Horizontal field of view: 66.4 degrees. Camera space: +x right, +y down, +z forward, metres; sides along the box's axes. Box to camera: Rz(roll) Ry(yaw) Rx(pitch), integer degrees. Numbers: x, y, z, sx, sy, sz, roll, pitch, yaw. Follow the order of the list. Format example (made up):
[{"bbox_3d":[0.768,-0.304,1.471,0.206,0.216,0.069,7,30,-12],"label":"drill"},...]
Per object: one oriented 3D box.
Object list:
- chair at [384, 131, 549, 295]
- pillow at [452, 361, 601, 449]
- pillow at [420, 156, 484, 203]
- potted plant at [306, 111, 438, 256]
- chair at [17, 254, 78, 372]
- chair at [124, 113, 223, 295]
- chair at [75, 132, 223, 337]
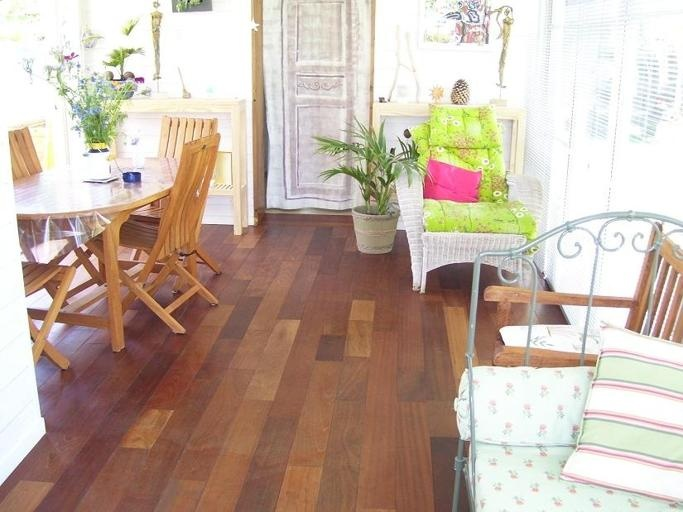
[{"bbox_3d":[1.065,-0.228,4.165,0.954,1.118,1.092,1,0,25],"label":"chair"},{"bbox_3d":[0.593,0.491,1.694,0.377,0.253,0.141,1,1,2],"label":"pillow"},{"bbox_3d":[0.914,-0.549,4.266,0.437,0.380,0.171,6,15,4],"label":"pillow"},{"bbox_3d":[0.163,-0.582,4.534,0.802,0.957,0.791,9,23,-27],"label":"potted plant"},{"bbox_3d":[-1.619,0.196,2.840,0.238,0.272,0.218,-14,16,44],"label":"chair"},{"bbox_3d":[-1.360,-0.389,4.003,0.827,1.175,0.700,-10,1,17],"label":"chair"},{"bbox_3d":[-1.194,-0.254,3.362,0.883,1.105,0.827,0,-1,-31],"label":"chair"}]
